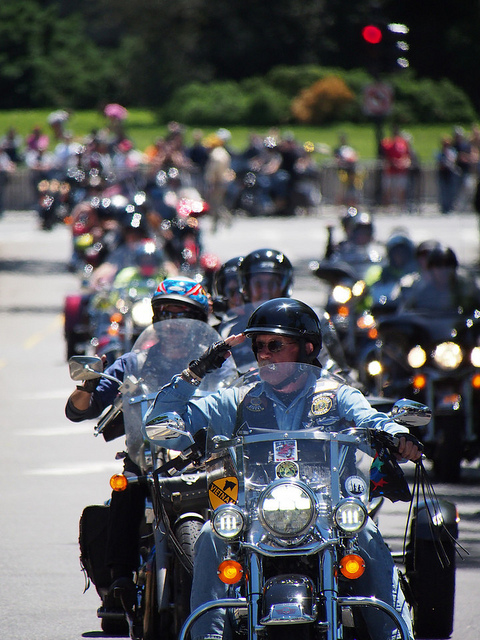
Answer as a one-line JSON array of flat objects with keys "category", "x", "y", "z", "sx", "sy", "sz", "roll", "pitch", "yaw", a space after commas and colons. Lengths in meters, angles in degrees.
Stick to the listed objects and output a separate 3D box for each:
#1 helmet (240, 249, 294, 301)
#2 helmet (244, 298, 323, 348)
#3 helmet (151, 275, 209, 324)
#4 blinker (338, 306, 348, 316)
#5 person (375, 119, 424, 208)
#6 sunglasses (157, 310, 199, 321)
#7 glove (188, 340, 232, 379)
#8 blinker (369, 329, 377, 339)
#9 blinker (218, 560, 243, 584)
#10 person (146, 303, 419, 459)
[{"category": "helmet", "x": 0.164, "y": -0.270, "z": 10.937, "sx": 0.354, "sy": 0.349, "sz": 0.391, "roll": 3, "pitch": 2, "yaw": 2}, {"category": "helmet", "x": 0.246, "y": 0.027, "z": 8.361, "sx": 0.379, "sy": 0.231, "sz": 0.316, "roll": 0, "pitch": 3, "yaw": -11}, {"category": "helmet", "x": -0.300, "y": -0.113, "z": 9.354, "sx": 0.236, "sy": 0.214, "sz": 0.279, "roll": 2, "pitch": -5, "yaw": 7}, {"category": "blinker", "x": 0.924, "y": -0.073, "z": 15.570, "sx": 0.084, "sy": 0.075, "sz": 0.023, "roll": -1, "pitch": -13, "yaw": 12}, {"category": "person", "x": 3.450, "y": -3.061, "z": 36.844, "sx": 0.885, "sy": 2.567, "sz": 0.753, "roll": -6, "pitch": -40, "yaw": 14}, {"category": "sunglasses", "x": -0.321, "y": -0.027, "z": 9.236, "sx": 0.214, "sy": 0.054, "sz": 0.075, "roll": -3, "pitch": 12, "yaw": 6}, {"category": "glove", "x": -0.130, "y": 0.188, "z": 8.357, "sx": 0.128, "sy": 0.223, "sz": 0.095, "roll": 48, "pitch": -1, "yaw": 27}, {"category": "blinker", "x": 0.996, "y": 0.101, "z": 12.976, "sx": 0.062, "sy": 0.058, "sz": 0.019, "roll": -5, "pitch": -14, "yaw": 33}, {"category": "blinker", "x": -0.038, "y": 1.104, "z": 7.762, "sx": 0.116, "sy": 0.117, "sz": 0.091, "roll": -4, "pitch": 12, "yaw": 8}, {"category": "person", "x": 0.303, "y": 0.303, "z": 8.315, "sx": 1.458, "sy": 0.700, "sz": 0.624, "roll": -1, "pitch": -8, "yaw": 28}]
